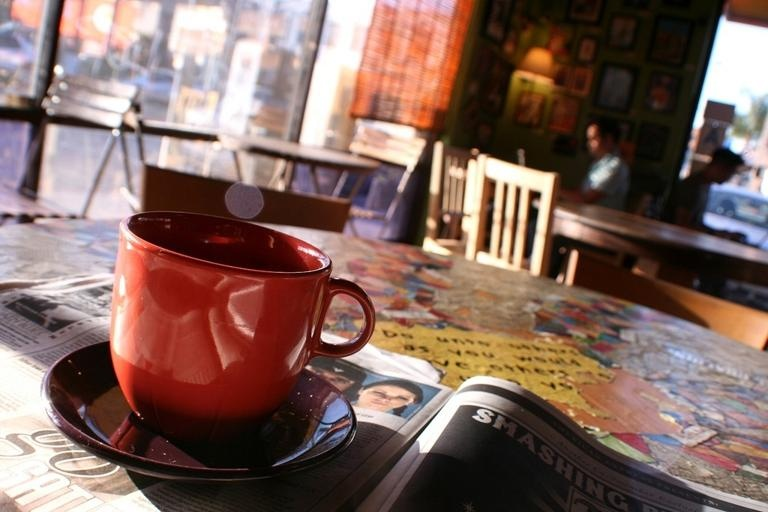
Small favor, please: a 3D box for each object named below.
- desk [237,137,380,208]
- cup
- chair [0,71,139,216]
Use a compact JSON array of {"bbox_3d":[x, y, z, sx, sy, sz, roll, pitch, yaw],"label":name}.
[{"bbox_3d":[-0.404,-0.487,3.336,0.611,0.264,0.801,13,12,4],"label":"desk"},{"bbox_3d":[-0.115,0.062,0.463,0.208,0.140,0.157,12,13,4],"label":"cup"},{"bbox_3d":[-1.293,-0.506,2.575,0.582,0.616,0.472,17,13,36],"label":"chair"}]
